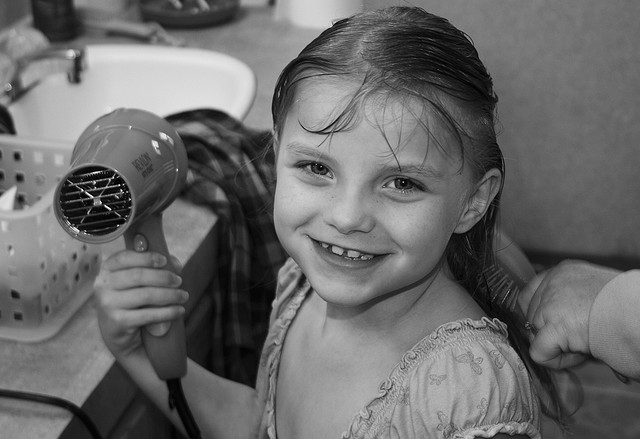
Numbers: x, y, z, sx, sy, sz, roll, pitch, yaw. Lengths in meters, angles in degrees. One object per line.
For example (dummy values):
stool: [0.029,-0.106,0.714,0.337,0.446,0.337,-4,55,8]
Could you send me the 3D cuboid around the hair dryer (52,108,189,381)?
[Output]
hair dryer: [-0.273,0.043,0.885,0.139,0.365,0.197,4,28,5]
